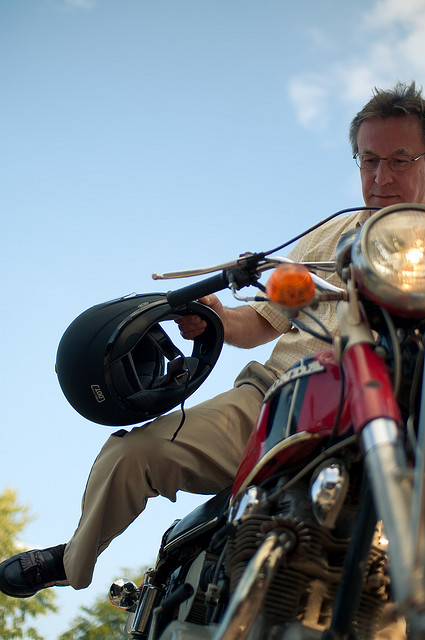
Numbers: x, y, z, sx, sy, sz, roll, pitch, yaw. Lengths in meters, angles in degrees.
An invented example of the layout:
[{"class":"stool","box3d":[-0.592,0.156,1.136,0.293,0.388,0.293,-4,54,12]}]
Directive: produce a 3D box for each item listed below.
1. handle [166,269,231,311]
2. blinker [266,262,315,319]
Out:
[{"class":"handle","box3d":[-0.033,-0.065,1.990,0.127,0.129,0.150,-7,4,6]},{"class":"blinker","box3d":[0.135,-0.051,1.540,0.065,0.092,0.057,-5,6,-4]}]
